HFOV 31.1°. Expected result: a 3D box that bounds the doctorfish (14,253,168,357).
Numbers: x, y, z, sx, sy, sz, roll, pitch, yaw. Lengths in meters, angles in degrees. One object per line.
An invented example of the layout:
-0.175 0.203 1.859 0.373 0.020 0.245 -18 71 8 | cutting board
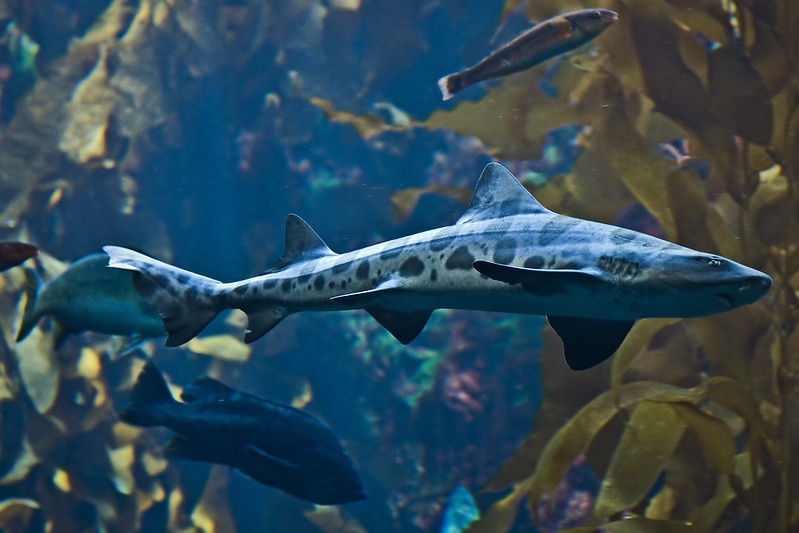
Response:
-2.889 0.406 13.415 1.278 0.936 1.389 -6 11 -20 | doctorfish

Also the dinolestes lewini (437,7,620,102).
1.133 -1.853 12.447 1.577 0.591 0.151 -7 6 8 | dinolestes lewini

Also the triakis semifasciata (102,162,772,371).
0.670 0.111 12.513 6.432 1.513 2.021 -1 2 12 | triakis semifasciata
